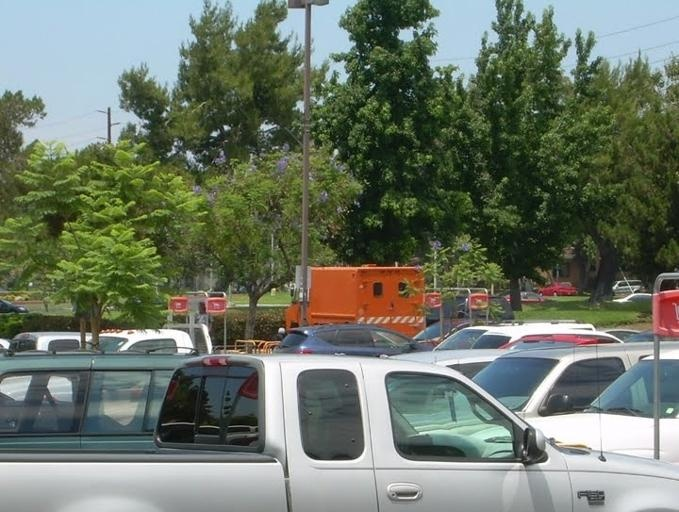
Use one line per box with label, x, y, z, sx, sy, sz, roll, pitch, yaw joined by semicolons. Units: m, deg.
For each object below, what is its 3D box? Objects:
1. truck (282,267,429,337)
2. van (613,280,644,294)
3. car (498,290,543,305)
truck;0.584;1.306;38.741;3.506;1.896;2.323;3;2;32
van;19.484;2.208;84.111;2.373;0.935;1.116;1;-2;4
car;9.303;2.211;64.231;2.682;0.756;1.246;-1;3;0
